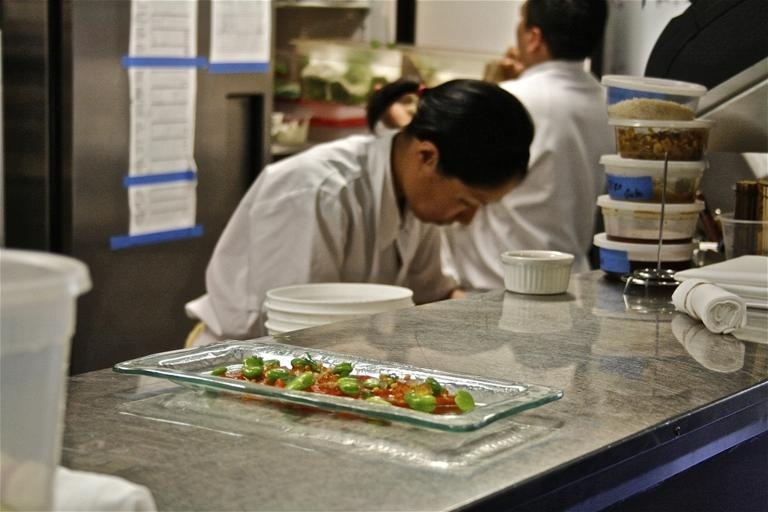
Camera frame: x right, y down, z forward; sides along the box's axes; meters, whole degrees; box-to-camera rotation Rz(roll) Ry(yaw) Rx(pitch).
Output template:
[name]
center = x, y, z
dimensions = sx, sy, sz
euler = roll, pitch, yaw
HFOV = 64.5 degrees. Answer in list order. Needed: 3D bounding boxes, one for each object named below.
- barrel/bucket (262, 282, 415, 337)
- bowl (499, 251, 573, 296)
[barrel/bucket]
center = -0.119, 0.147, 1.650
dimensions = 0.379, 0.106, 0.277
euler = 2, 9, 7
[bowl]
center = 0.457, 0.047, 1.787
dimensions = 0.208, 0.094, 0.208
euler = 0, 7, 0
